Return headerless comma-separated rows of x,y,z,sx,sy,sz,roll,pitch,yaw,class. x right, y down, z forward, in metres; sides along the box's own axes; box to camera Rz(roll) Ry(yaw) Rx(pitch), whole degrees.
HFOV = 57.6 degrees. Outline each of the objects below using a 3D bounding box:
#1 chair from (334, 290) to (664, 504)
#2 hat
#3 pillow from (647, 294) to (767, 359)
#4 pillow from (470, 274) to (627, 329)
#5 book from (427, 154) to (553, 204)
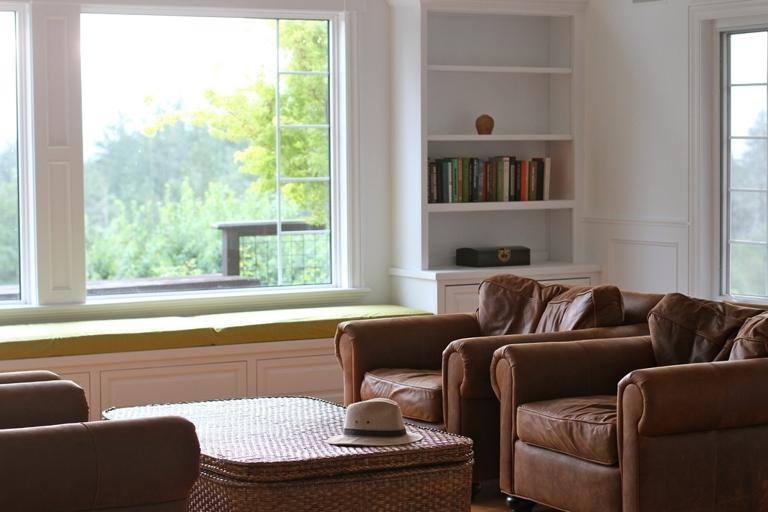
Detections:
0.702,0.693,4.305,1.555,1.045,1.300,1,-4,-31,chair
-0.057,0.737,3.059,0.244,0.095,0.248,-2,-1,32,hat
1.633,0.384,3.683,0.400,0.384,0.122,0,-20,26,pillow
0.954,0.326,4.289,0.467,0.170,0.480,-19,1,27,pillow
0.882,-0.642,5.838,1.146,0.380,0.120,-5,6,-21,book
